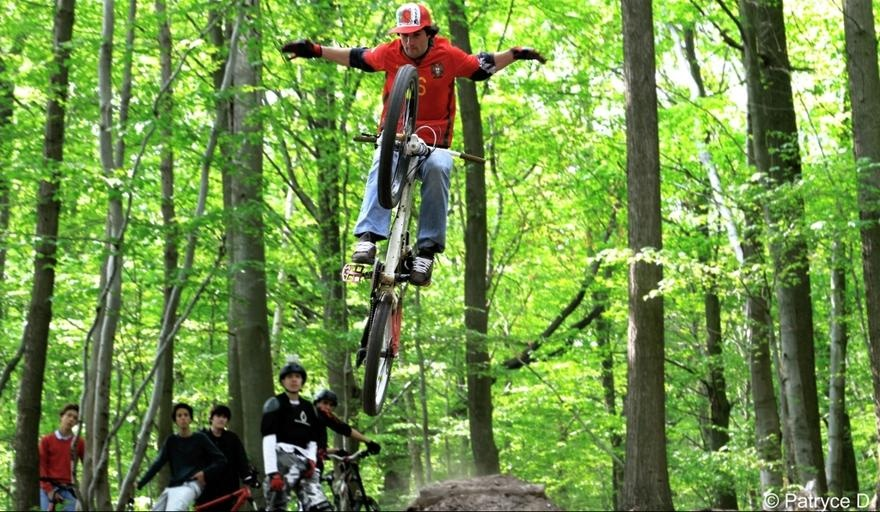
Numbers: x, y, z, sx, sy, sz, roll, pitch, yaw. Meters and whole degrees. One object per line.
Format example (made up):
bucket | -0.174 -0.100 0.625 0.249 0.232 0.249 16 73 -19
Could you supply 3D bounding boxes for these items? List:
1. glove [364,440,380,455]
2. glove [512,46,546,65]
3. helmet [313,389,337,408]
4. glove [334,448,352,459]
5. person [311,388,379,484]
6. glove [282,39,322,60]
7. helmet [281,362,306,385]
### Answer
glove | -1.588 4.432 28.325 0.326 0.392 0.312 1 -13 -34
glove | 1.846 -4.430 27.168 0.296 0.340 1.035 -13 23 -31
helmet | -2.610 3.197 27.898 0.336 0.380 0.463 19 -5 -24
glove | -2.251 4.516 28.066 0.236 0.091 0.199 21 -8 30
person | -2.219 4.188 27.854 0.996 2.249 1.234 -3 3 18
glove | -3.033 -4.544 27.162 0.822 0.513 0.337 -4 11 -5
helmet | -3.245 2.532 27.186 0.469 0.389 0.507 1 -33 -4
